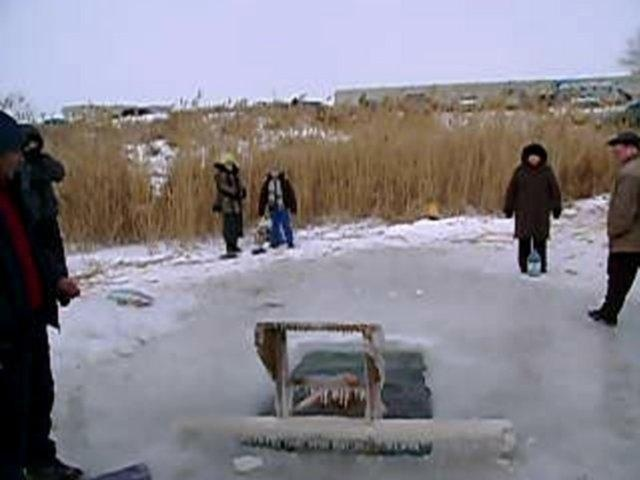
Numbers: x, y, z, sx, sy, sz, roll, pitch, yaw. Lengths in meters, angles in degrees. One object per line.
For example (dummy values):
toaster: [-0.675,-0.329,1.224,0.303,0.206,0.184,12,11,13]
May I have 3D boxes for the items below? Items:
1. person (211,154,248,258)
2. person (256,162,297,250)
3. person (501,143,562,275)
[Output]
person: [-1.382,-0.520,12.073,0.456,1.408,0.853,-2,10,-5]
person: [-0.657,-0.546,12.432,0.509,1.385,0.343,1,25,8]
person: [2.749,-0.391,10.295,0.695,1.635,0.367,2,10,18]
